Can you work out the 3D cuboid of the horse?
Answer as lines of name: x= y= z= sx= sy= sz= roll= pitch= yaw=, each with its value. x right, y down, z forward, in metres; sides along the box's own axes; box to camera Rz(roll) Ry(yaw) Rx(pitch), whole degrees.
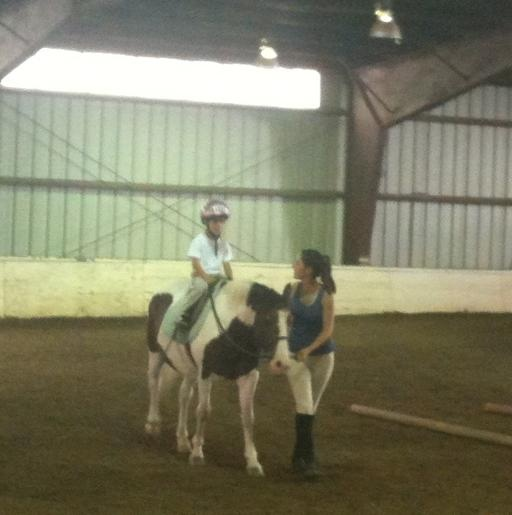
horse: x=-0.425 y=1.087 z=8.261 sx=0.659 sy=1.806 sz=2.607 roll=5 pitch=0 yaw=-31

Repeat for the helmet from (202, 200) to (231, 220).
helmet: x=-0.384 y=-0.433 z=8.288 sx=0.211 sy=0.177 sz=0.211 roll=1 pitch=-2 yaw=-22

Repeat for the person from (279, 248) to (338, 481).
person: x=0.465 y=0.928 z=7.895 sx=0.489 sy=1.992 sz=0.596 roll=4 pitch=5 yaw=5

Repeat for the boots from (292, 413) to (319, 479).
boots: x=0.455 y=1.668 z=7.826 sx=0.239 sy=0.536 sz=0.363 roll=3 pitch=5 yaw=4
